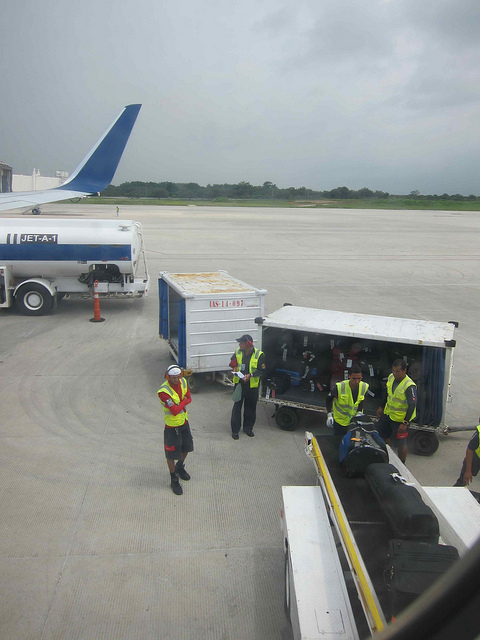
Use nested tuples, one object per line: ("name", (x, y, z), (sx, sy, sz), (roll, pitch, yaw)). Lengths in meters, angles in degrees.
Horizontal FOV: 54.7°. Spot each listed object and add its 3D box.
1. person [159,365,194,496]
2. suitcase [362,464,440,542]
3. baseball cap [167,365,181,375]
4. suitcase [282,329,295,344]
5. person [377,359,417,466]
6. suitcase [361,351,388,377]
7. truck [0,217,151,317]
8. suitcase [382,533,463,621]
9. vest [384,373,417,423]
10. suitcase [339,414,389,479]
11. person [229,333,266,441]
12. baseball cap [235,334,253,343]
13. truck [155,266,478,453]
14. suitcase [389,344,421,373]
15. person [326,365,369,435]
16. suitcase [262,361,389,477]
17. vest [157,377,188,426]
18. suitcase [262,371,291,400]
("person", (-0.991, 1.680, 7.192), (0.394, 1.956, 0.485), (5, 12, 15))
("suitcase", (1.670, 1.884, 4.914), (0.422, 0.374, 1.295), (-1, 7, -1))
("baseball cap", (-1.000, 0.761, 6.998), (0.171, 0.075, 0.202), (4, 11, 9))
("suitcase", (1.139, 0.360, 10.900), (0.338, 0.334, 0.195), (0, 16, 26))
("person", (2.677, 1.630, 7.959), (0.540, 2.006, 0.728), (-9, 15, -37))
("suitcase", (2.975, 0.960, 10.310), (0.574, 0.524, 0.132), (-6, -2, 24))
("truck", (-6.502, -2.245, 18.546), (5.664, 3.419, 3.178), (2, 10, -12))
("suitcase", (1.482, 2.025, 3.673), (0.532, 0.209, 0.700), (-5, 4, 19))
("vest", (2.638, 1.319, 7.802), (0.174, 0.793, 0.487), (-6, 14, -35))
("suitcase", (1.671, 1.658, 6.306), (0.640, 0.419, 1.132), (-4, 8, 15))
("person", (0.110, 1.310, 9.017), (0.626, 2.043, 0.802), (4, 11, 12))
("baseball cap", (0.082, 0.365, 8.816), (0.229, 0.118, 0.148), (14, 1, -2))
("truck", (1.314, 1.426, 10.337), (6.509, 1.946, 3.594), (10, 16, 12))
("suitcase", (3.371, 0.769, 9.462), (0.352, 0.462, 0.608), (-8, 14, -26))
("person", (1.763, 1.602, 7.711), (0.699, 1.687, 0.488), (-3, 18, -6))
("suitcase", (1.522, 1.592, 7.072), (0.718, 0.728, 2.607), (2, 8, -4))
("vest", (-1.034, 1.236, 7.106), (0.449, 0.704, 0.395), (-1, 12, -16))
("suitcase", (0.783, 1.384, 10.168), (0.587, 0.348, 1.125), (4, 11, 9))
